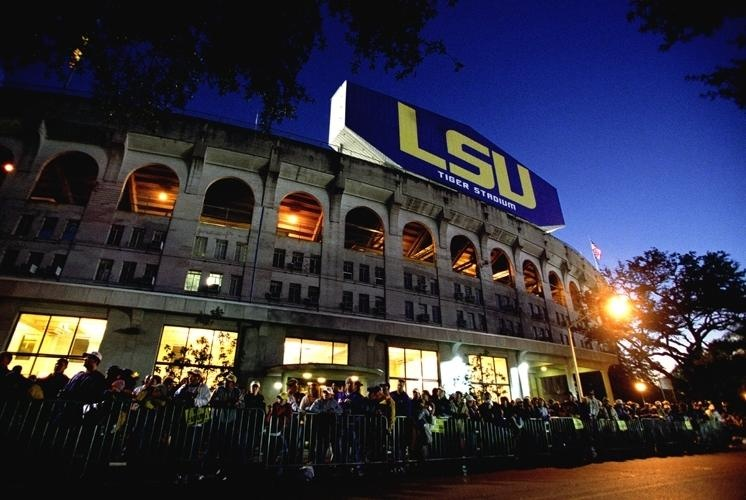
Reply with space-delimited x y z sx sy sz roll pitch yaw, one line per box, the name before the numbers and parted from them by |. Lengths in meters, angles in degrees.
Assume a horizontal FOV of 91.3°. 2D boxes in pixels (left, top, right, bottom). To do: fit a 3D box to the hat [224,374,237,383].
hat | -5.293 4.717 13.601 0.528 0.275 0.725 7 -24 -9
